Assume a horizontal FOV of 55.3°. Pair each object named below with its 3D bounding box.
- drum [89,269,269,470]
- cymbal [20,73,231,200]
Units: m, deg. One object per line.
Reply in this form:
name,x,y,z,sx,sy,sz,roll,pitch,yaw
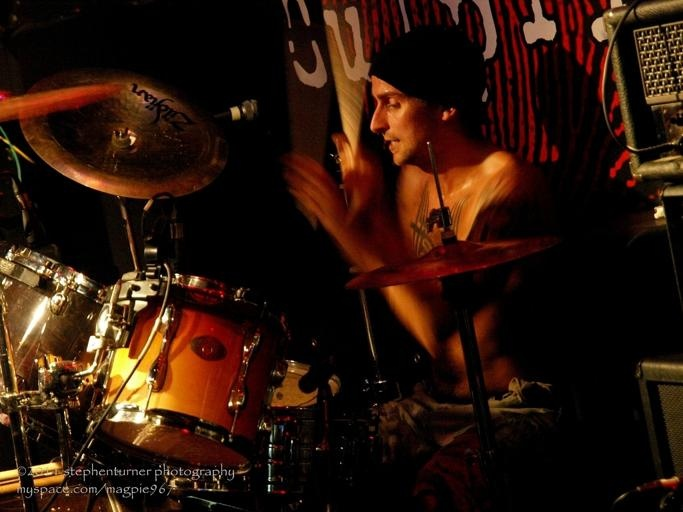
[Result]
drum,-0.521,0.481,2.609,0.624,0.602,0.634,16,-21,6
cymbal,-0.853,-0.491,2.679,0.731,0.108,0.747,-3,41,-12
